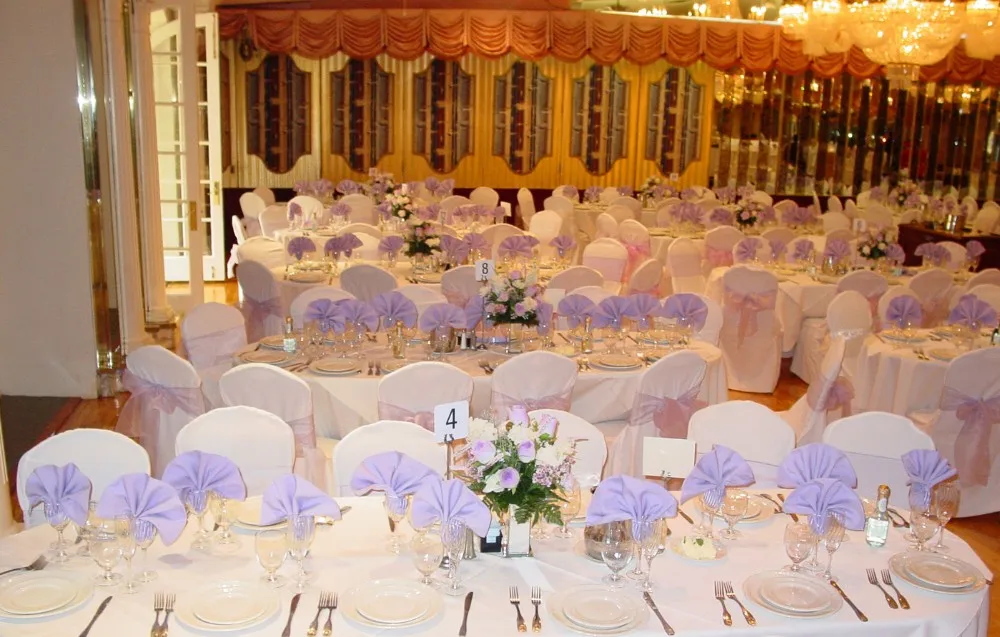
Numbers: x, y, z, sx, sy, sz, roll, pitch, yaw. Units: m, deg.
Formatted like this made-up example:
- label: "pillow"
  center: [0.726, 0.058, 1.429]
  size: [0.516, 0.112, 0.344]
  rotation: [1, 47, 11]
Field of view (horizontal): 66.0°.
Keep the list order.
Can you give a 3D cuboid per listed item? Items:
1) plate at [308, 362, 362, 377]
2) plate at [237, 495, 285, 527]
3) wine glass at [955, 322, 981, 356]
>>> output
- label: "plate"
  center: [-1.158, 0.351, 5.433]
  size: [0.357, 0.042, 0.216]
  rotation: [-1, 14, -9]
- label: "plate"
  center: [-1.191, 0.956, 3.786]
  size: [0.194, 0.028, 0.203]
  rotation: [5, 10, 18]
- label: "wine glass"
  center: [3.745, 0.155, 6.177]
  size: [0.236, 0.285, 0.246]
  rotation: [-1, -5, 20]
